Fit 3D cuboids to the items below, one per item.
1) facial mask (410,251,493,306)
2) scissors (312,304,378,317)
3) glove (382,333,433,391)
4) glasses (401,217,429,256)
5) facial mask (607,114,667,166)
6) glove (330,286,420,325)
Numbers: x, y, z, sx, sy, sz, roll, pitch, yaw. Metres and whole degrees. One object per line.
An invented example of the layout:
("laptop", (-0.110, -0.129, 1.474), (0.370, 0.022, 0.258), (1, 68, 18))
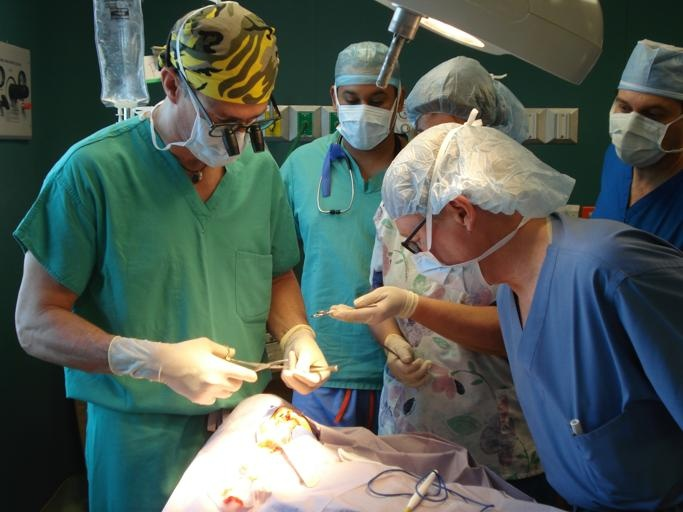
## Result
("facial mask", (0.344, 0.071, 2.044), (0.199, 0.136, 0.219), (4, 7, 14))
("scissors", (0.022, 0.188, 2.295), (0.226, 0.027, 0.034), (-11, -8, -21))
("glove", (0.225, 0.309, 2.326), (0.134, 0.153, 0.232), (-16, 17, 5))
("glasses", (0.217, -0.063, 1.955), (0.023, 0.089, 0.080), (23, -13, 5))
("facial mask", (1.199, -0.457, 2.680), (0.171, 0.156, 0.202), (21, 46, 39))
("glove", (0.125, 0.170, 2.217), (0.231, 0.084, 0.143), (-10, 22, 4))
